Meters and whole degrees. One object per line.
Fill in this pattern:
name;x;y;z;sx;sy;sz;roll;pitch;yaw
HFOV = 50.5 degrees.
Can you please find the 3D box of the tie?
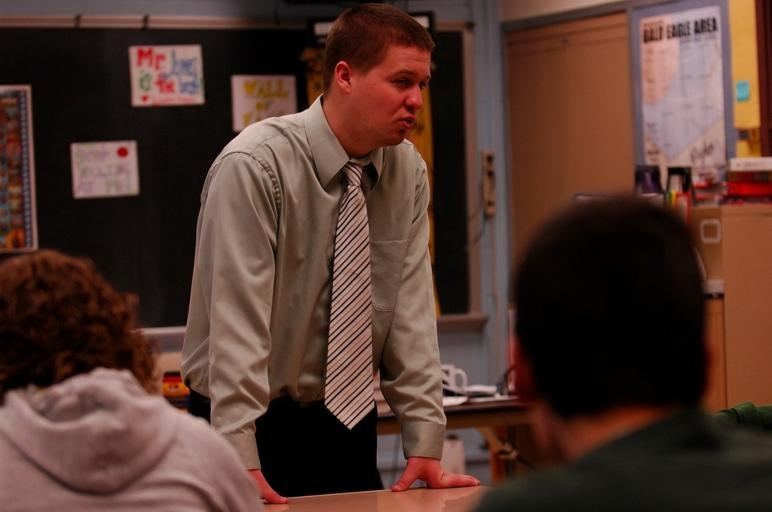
tie;-0.095;0.092;2.064;0.118;0.659;0.125;-1;4;-5
